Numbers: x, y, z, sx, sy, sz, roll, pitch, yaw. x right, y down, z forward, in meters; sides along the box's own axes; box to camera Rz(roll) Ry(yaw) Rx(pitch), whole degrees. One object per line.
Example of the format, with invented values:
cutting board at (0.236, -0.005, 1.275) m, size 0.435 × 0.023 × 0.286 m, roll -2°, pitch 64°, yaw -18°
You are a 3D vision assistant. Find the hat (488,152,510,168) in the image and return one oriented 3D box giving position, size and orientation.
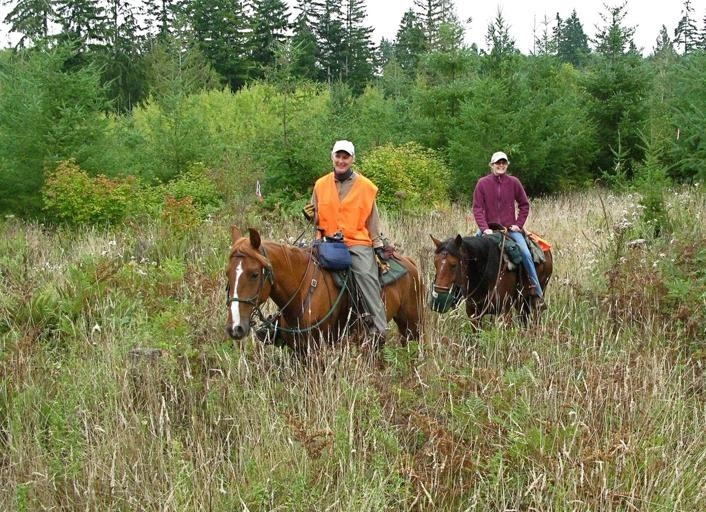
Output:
hat at (2.670, -1.779, 12.687) m, size 0.284 × 0.241 × 0.363 m, roll 0°, pitch 1°, yaw 6°

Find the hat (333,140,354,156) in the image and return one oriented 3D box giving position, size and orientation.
hat at (-0.122, -1.643, 10.620) m, size 0.275 × 0.254 × 0.437 m, roll 10°, pitch -4°, yaw 6°

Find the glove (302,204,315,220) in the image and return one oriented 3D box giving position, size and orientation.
glove at (-0.665, -0.691, 10.786) m, size 0.147 × 0.244 × 0.077 m, roll 2°, pitch 15°, yaw 30°
